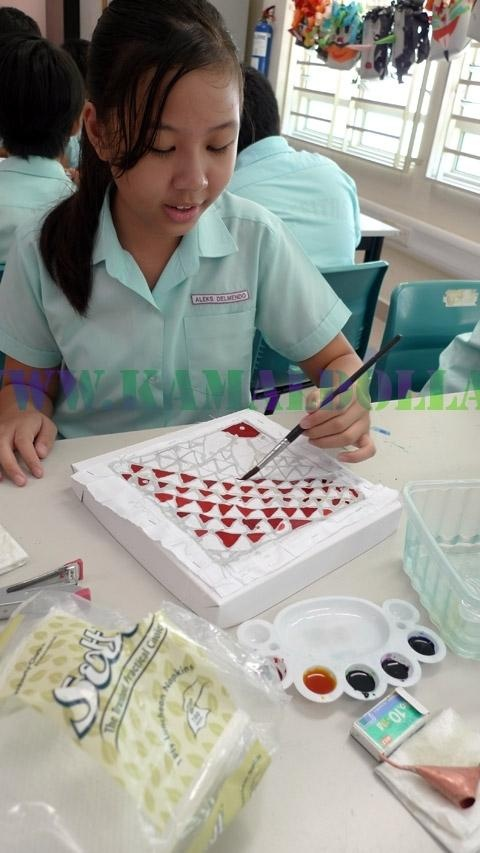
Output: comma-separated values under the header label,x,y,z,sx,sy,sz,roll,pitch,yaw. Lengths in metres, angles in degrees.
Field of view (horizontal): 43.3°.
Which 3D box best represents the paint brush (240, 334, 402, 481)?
label,x,y,z,sx,sy,sz,roll,pitch,yaw
paint brush,0.082,-0.019,0.793,0.183,0.210,0.177,17,23,40
